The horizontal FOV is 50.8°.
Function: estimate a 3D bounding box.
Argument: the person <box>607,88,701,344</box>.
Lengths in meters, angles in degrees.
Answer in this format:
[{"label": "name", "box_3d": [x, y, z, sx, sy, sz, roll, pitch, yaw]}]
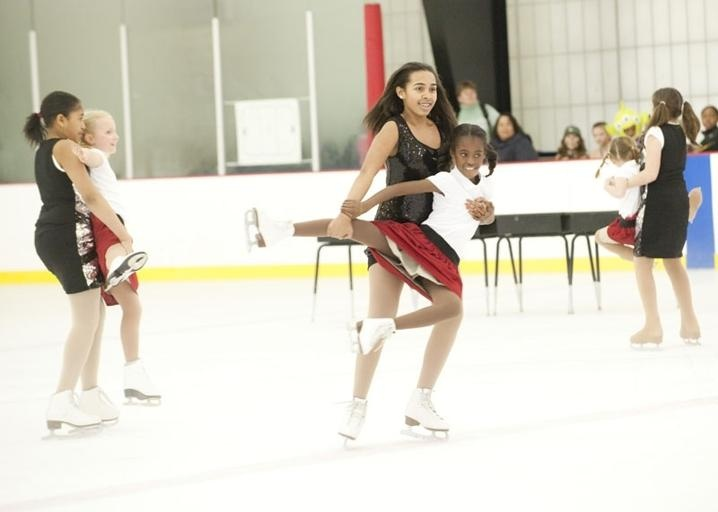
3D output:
[{"label": "person", "box_3d": [2.256, -0.276, 5.584, 0.537, 1.897, 0.375, -2, 11, 0]}]

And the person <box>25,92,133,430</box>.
[{"label": "person", "box_3d": [-1.609, 0.026, 4.333, 0.550, 1.912, 0.590, -7, 12, -24]}]

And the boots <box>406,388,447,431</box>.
[{"label": "boots", "box_3d": [0.353, 0.797, 3.935, 0.257, 0.204, 0.093, 8, 3, 32]}]

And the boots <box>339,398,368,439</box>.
[{"label": "boots", "box_3d": [-0.014, 0.829, 3.887, 0.088, 0.105, 0.268, 21, 19, 2]}]

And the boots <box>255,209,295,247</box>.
[{"label": "boots", "box_3d": [-0.416, -0.138, 3.743, 0.152, 0.190, 0.209, -8, 13, -27]}]

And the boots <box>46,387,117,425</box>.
[{"label": "boots", "box_3d": [-1.582, 0.872, 4.288, 0.255, 0.140, 0.320, 1, -3, 1]}]
